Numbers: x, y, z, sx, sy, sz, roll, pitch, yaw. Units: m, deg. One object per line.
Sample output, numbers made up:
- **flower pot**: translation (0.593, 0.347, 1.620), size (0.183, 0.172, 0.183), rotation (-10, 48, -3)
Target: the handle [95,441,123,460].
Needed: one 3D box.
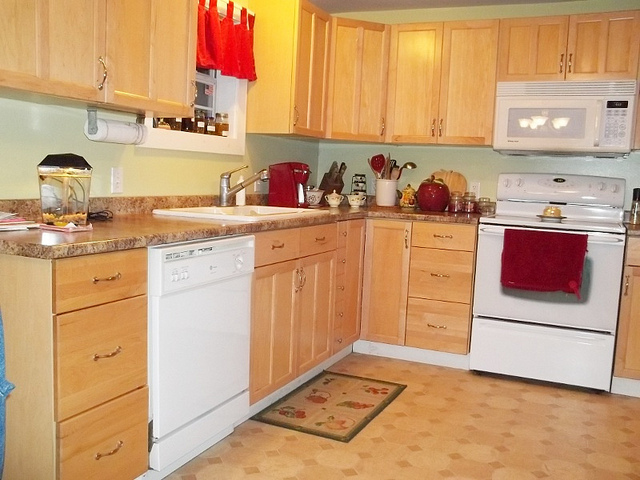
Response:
- **handle**: translation (-0.763, 0.756, 1.658), size (0.036, 0.103, 0.022), rotation (43, -17, -6)

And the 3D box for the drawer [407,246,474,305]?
- **drawer**: translation (0.898, 0.219, 3.360), size (0.469, 0.375, 0.422), rotation (4, 9, 18)

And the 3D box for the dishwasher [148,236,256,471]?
- **dishwasher**: translation (-0.572, 0.446, 2.057), size (0.475, 0.858, 0.462), rotation (10, 11, 35)

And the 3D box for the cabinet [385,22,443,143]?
- **cabinet**: translation (0.696, -1.220, 3.687), size (0.427, 0.934, 0.378), rotation (0, 13, -4)

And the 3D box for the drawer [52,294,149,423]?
- **drawer**: translation (-0.760, 0.404, 1.606), size (0.241, 0.347, 0.237), rotation (7, 12, 17)

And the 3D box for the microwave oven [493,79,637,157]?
- **microwave oven**: translation (1.732, -0.867, 3.235), size (1.001, 0.532, 0.564), rotation (5, 10, 19)

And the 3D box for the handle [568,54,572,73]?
- **handle**: translation (1.770, -1.251, 3.234), size (0.019, 0.105, 0.010), rotation (5, 4, 29)

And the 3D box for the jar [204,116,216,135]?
- **jar**: translation (-0.724, -0.750, 3.008), size (0.072, 0.116, 0.106), rotation (1, 8, -14)

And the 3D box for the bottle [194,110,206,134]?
- **bottle**: translation (-0.770, -0.753, 2.915), size (0.064, 0.150, 0.114), rotation (0, 8, -17)

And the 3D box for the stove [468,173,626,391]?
- **stove**: translation (1.637, 0.244, 3.288), size (0.891, 1.423, 0.763), rotation (4, 9, 27)

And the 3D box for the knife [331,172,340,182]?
- **knife**: translation (0.127, -0.526, 3.875), size (0.064, 0.081, 0.035), rotation (-2, 10, -31)

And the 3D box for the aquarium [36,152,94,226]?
- **aquarium**: translation (-1.038, -0.203, 1.836), size (0.149, 0.287, 0.205), rotation (3, 8, 6)

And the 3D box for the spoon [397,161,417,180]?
- **spoon**: translation (0.746, -0.588, 3.913), size (0.133, 0.147, 0.165), rotation (5, 8, 19)

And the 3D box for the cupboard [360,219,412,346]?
- **cupboard**: translation (0.492, 0.320, 3.567), size (0.358, 0.909, 0.393), rotation (5, 11, 20)

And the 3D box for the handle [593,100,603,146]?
- **handle**: translation (1.924, -0.807, 3.167), size (0.042, 0.311, 0.022), rotation (5, 9, 18)

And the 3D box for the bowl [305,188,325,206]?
- **bowl**: translation (-0.042, -0.343, 3.632), size (0.137, 0.090, 0.132), rotation (1, 14, 0)

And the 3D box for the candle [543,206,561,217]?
- **candle**: translation (1.628, -0.193, 3.212), size (0.085, 0.055, 0.080), rotation (5, 24, 20)

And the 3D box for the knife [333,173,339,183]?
- **knife**: translation (0.135, -0.516, 3.866), size (0.017, 0.126, 0.030), rotation (19, -26, 13)

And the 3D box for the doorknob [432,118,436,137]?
- **doorknob**: translation (0.885, -0.877, 3.578), size (0.020, 0.117, 0.043), rotation (12, 19, 32)

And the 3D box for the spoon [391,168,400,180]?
- **spoon**: translation (0.633, -0.553, 3.868), size (0.059, 0.104, 0.021), rotation (7, 12, 9)

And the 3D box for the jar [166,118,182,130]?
- **jar**: translation (-0.866, -0.685, 2.715), size (0.094, 0.066, 0.027), rotation (-5, 11, -44)

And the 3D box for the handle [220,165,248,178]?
- **handle**: translation (-0.553, -0.427, 2.880), size (0.149, 0.081, 0.515), rotation (1, 8, -13)

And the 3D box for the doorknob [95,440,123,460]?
- **doorknob**: translation (-0.762, 0.765, 1.652), size (0.098, 0.037, 0.022), rotation (-40, 14, -7)

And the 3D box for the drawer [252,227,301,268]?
- **drawer**: translation (-0.277, 0.032, 2.521), size (0.381, 0.170, 0.227), rotation (-11, 9, -39)

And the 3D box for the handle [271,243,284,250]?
- **handle**: translation (-0.227, 0.038, 2.438), size (0.005, 0.026, 0.117), rotation (7, 9, 27)

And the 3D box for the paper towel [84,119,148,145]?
- **paper towel**: translation (-0.976, -0.517, 2.197), size (0.278, 0.099, 0.156), rotation (-1, 9, -27)

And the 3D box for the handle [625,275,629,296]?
- **handle**: translation (1.948, 0.291, 2.905), size (0.021, 0.130, 0.005), rotation (4, 8, 8)

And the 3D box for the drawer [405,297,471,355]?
- **drawer**: translation (0.861, 0.616, 3.295), size (0.390, 0.279, 0.418), rotation (3, 2, 26)

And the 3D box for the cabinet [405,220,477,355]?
- **cabinet**: translation (0.936, 0.323, 3.562), size (0.716, 0.878, 0.559), rotation (5, 7, 25)

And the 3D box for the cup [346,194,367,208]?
- **cup**: translation (0.319, -0.328, 3.849), size (0.142, 0.074, 0.093), rotation (-1, 10, -1)

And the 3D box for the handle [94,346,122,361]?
- **handle**: translation (-0.746, 0.405, 1.629), size (0.019, 0.029, 0.108), rotation (2, 6, 29)

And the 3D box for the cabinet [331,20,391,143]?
- **cabinet**: translation (0.260, -1.215, 3.728), size (0.463, 0.956, 0.434), rotation (-3, 15, -29)

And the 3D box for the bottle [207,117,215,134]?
- **bottle**: translation (-0.721, -0.752, 3.019), size (0.045, 0.113, 0.074), rotation (0, 8, -14)

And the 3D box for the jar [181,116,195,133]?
- **jar**: translation (-0.813, -0.705, 2.812), size (0.089, 0.119, 0.081), rotation (2, 14, 0)

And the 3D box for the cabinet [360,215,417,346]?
- **cabinet**: translation (0.500, 0.296, 3.535), size (0.386, 0.918, 0.418), rotation (5, 11, 19)

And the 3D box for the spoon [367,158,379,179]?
- **spoon**: translation (0.456, -0.598, 3.921), size (0.097, 0.156, 0.299), rotation (3, 8, 6)

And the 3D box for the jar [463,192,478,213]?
- **jar**: translation (1.171, -0.287, 3.642), size (0.146, 0.154, 0.141), rotation (-1, 11, 0)

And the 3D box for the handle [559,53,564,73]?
- **handle**: translation (1.720, -1.257, 3.260), size (0.019, 0.103, 0.019), rotation (13, 16, 43)

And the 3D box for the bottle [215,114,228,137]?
- **bottle**: translation (-0.664, -0.770, 3.072), size (0.084, 0.142, 0.058), rotation (0, 8, -14)
